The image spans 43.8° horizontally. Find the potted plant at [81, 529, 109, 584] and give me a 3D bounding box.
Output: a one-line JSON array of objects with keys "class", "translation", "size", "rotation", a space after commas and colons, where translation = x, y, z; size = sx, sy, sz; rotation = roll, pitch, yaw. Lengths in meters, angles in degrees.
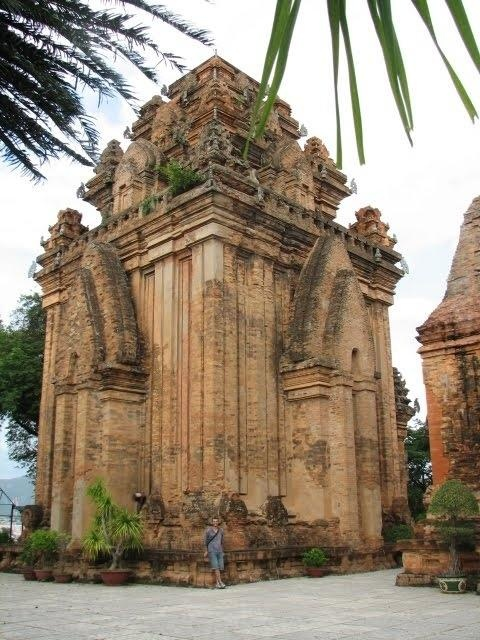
[{"class": "potted plant", "translation": [-2.731, 4.479, 11.337], "size": [0.497, 0.933, 1.105], "rotation": [3, -21, -12]}]

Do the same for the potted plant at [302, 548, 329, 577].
[{"class": "potted plant", "translation": [1.446, 4.867, 12.060], "size": [0.595, 0.558, 0.571], "rotation": [2, -31, -2]}]

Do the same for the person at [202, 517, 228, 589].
[{"class": "person", "translation": [-0.417, 3.951, 10.175], "size": [0.345, 1.108, 0.690], "rotation": [-1, -21, -3]}]

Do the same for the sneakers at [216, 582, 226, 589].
[{"class": "sneakers", "translation": [-0.315, 4.386, 9.862], "size": [0.077, 0.097, 0.232], "rotation": [8, -28, -28]}]

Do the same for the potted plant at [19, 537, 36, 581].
[{"class": "potted plant", "translation": [-4.492, 5.214, 12.960], "size": [0.380, 0.799, 0.394], "rotation": [11, -23, -34]}]

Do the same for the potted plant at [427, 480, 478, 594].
[{"class": "potted plant", "translation": [3.329, 3.275, 9.142], "size": [0.731, 1.585, 0.698], "rotation": [-7, -22, 14]}]
